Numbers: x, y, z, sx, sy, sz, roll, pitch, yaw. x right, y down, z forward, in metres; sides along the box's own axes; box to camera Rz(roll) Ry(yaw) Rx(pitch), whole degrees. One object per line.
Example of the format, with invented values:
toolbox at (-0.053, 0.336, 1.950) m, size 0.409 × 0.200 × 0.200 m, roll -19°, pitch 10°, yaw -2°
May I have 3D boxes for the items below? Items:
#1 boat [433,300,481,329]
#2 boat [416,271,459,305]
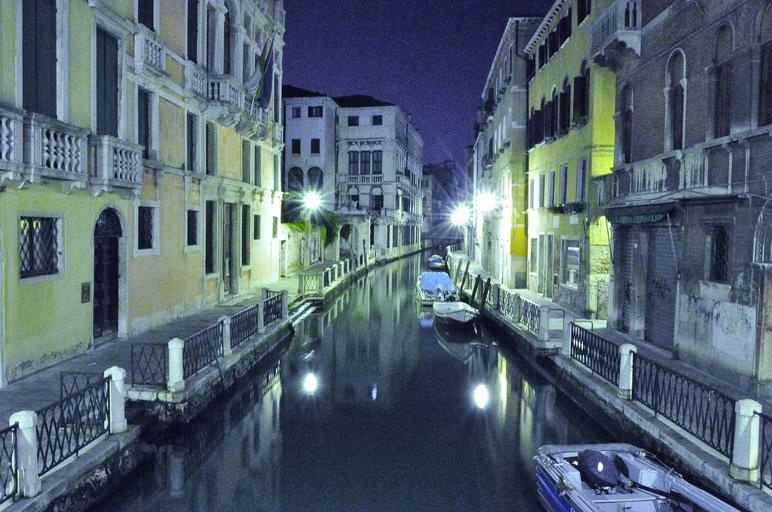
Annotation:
boat at (2.896, 2.497, 30.863) m, size 1.138 × 1.035 × 2.226 m, roll -7°, pitch 16°, yaw -19°
boat at (2.544, 1.741, 36.606) m, size 1.826 × 1.136 × 3.107 m, roll -3°, pitch 15°, yaw -3°
